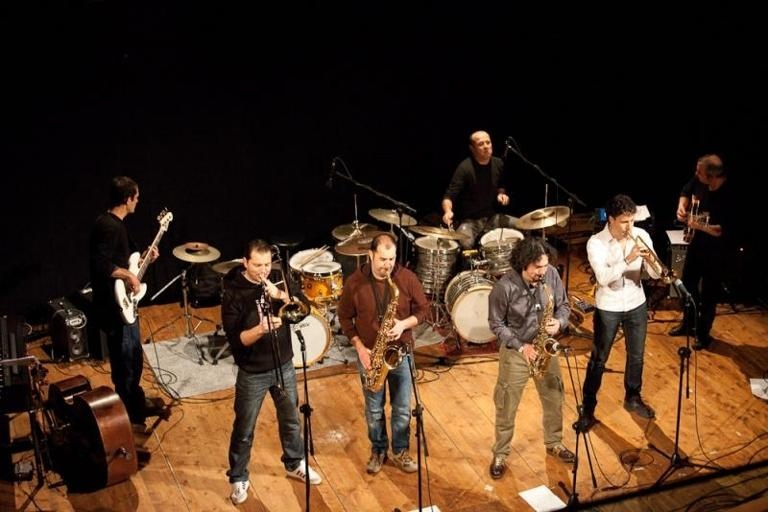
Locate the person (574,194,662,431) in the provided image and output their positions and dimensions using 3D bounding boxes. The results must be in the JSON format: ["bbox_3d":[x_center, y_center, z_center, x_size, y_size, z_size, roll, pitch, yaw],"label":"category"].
[{"bbox_3d":[2.656,0.690,6.333,1.010,2.586,0.885,8,23,38],"label":"person"}]

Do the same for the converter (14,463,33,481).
[{"bbox_3d":[-3.780,2.265,6.055,0.167,0.167,0.114,-3,-26,-9],"label":"converter"}]

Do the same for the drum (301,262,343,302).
[{"bbox_3d":[-0.833,0.370,7.747,0.498,0.329,0.504,0,25,0],"label":"drum"}]

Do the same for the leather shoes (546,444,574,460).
[{"bbox_3d":[1.882,2.111,6.183,0.233,0.081,0.148,20,-24,36],"label":"leather shoes"}]

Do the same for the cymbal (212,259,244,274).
[{"bbox_3d":[-1.984,0.136,7.271,0.212,0.052,0.214,4,32,1],"label":"cymbal"}]

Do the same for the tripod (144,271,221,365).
[{"bbox_3d":[-2.926,0.925,8.427,0.616,0.832,0.839,20,43,-3],"label":"tripod"}]

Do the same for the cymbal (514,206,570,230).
[{"bbox_3d":[2.197,-0.526,7.990,0.813,0.306,0.333,-7,8,-27],"label":"cymbal"}]

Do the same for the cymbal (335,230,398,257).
[{"bbox_3d":[-0.348,-0.217,8.024,0.483,0.226,0.488,9,24,20],"label":"cymbal"}]

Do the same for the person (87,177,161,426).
[{"bbox_3d":[-2.824,0.498,6.904,0.892,2.637,0.980,0,6,-7],"label":"person"}]

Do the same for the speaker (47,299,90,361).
[{"bbox_3d":[-4.341,1.027,7.913,0.583,0.800,0.332,1,9,32],"label":"speaker"}]

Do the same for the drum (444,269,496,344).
[{"bbox_3d":[1.155,0.684,7.667,0.769,0.787,0.457,-13,20,-4],"label":"drum"}]

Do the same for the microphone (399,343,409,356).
[{"bbox_3d":[0.184,0.897,5.543,0.083,0.096,0.105,-1,-1,5],"label":"microphone"}]

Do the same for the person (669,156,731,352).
[{"bbox_3d":[4.281,-0.035,7.811,0.651,2.368,0.798,9,11,22],"label":"person"}]

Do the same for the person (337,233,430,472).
[{"bbox_3d":[0.089,0.944,6.065,0.949,2.376,1.010,-1,6,-17],"label":"person"}]

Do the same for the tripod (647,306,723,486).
[{"bbox_3d":[3.412,1.497,6.597,0.639,1.482,2.287,1,8,28],"label":"tripod"}]

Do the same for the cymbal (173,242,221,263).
[{"bbox_3d":[-2.585,-0.026,7.960,0.535,0.290,0.450,-8,8,-35],"label":"cymbal"}]

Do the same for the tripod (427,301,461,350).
[{"bbox_3d":[0.888,1.047,8.405,0.649,0.651,0.849,-3,3,4],"label":"tripod"}]

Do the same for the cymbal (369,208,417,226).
[{"bbox_3d":[0.135,-0.556,8.401,0.608,0.265,0.734,-2,7,8],"label":"cymbal"}]

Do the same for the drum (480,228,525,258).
[{"bbox_3d":[1.638,-0.216,8.137,0.455,0.447,0.463,11,42,39],"label":"drum"}]

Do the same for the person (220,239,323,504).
[{"bbox_3d":[-1.088,0.992,5.769,1.054,2.549,1.049,-4,6,-35],"label":"person"}]

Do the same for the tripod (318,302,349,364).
[{"bbox_3d":[-0.692,1.094,8.100,0.482,0.699,0.184,-9,15,-24],"label":"tripod"}]

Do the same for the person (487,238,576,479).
[{"bbox_3d":[1.434,0.933,5.921,0.892,2.470,0.945,1,-10,3],"label":"person"}]

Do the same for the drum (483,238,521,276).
[{"bbox_3d":[1.614,-0.007,7.854,0.495,0.403,0.517,-25,8,4],"label":"drum"}]

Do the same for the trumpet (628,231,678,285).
[{"bbox_3d":[3.269,0.036,7.027,0.263,0.332,0.818,-14,59,-39],"label":"trumpet"}]

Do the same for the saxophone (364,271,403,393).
[{"bbox_3d":[-0.003,0.756,5.652,0.309,1.162,0.278,3,-7,-3],"label":"saxophone"}]

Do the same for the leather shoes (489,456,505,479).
[{"bbox_3d":[1.181,2.218,6.034,0.115,0.100,0.240,2,19,8],"label":"leather shoes"}]

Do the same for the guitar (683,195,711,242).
[{"bbox_3d":[4.121,-0.491,7.610,0.161,0.560,0.543,-3,9,-35],"label":"guitar"}]
